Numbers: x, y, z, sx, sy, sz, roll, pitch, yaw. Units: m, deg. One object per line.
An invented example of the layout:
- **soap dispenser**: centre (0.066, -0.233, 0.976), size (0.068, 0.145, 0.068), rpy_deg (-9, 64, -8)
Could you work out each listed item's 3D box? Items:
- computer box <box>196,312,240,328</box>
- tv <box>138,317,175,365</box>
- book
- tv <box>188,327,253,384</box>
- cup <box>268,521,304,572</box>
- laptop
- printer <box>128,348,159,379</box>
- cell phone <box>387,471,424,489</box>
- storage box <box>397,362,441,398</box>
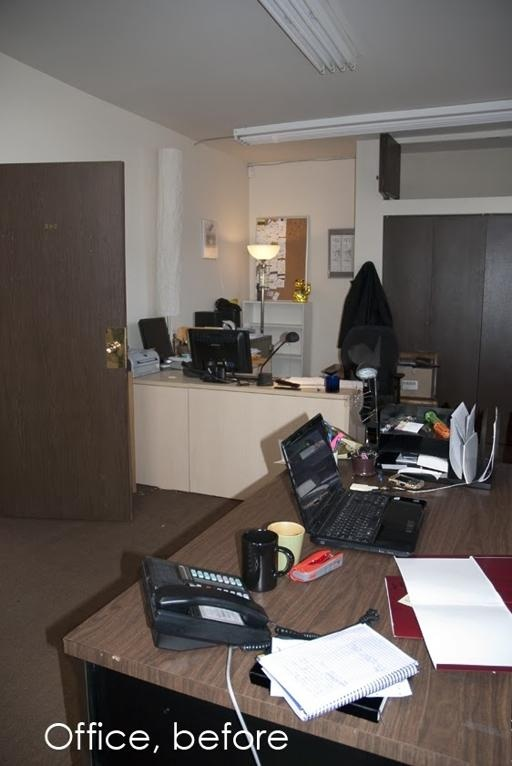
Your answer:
- **computer box**: centre (-0.379, -0.667, 5.779), size (0.224, 0.169, 0.611), rpy_deg (4, 8, 40)
- **tv**: centre (-0.834, -0.340, 4.497), size (0.044, 0.368, 0.353), rpy_deg (-9, 11, 20)
- **book**: centre (0.115, 0.402, 0.802), size (0.215, 0.038, 0.188), rpy_deg (-5, 7, -28)
- **tv**: centre (-0.240, -0.172, 3.563), size (0.304, 0.241, 0.115), rpy_deg (5, 13, 22)
- **cup**: centre (0.060, 0.339, 1.151), size (0.057, 0.089, 0.092), rpy_deg (0, 15, -6)
- **laptop**: centre (0.207, 0.184, 1.437), size (0.377, 0.294, 0.441), rpy_deg (5, 9, 26)
- **printer**: centre (-0.783, -0.143, 3.834), size (0.166, 0.163, 0.240), rpy_deg (-1, 10, 25)
- **cell phone**: centre (0.465, 0.310, 1.717), size (0.062, 0.025, 0.052), rpy_deg (5, 14, 33)
- **storage box**: centre (1.422, -0.003, 4.777), size (0.381, 0.401, 0.294), rpy_deg (2, 7, 18)
